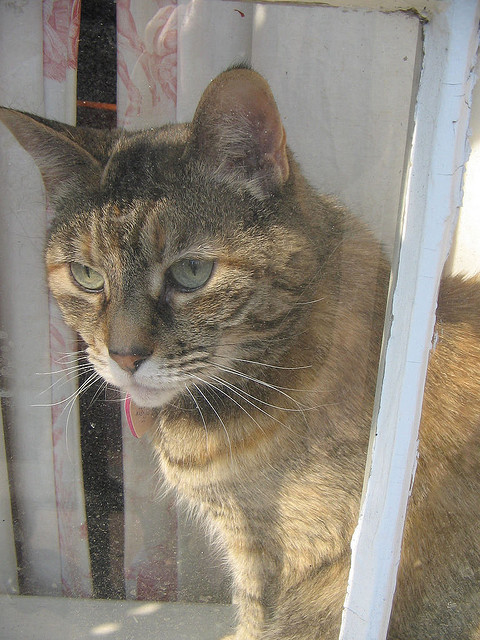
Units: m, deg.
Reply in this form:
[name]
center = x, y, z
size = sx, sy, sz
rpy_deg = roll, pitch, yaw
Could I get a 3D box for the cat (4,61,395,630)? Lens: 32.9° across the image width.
[cat]
center = -0.064, 0.079, 1.151
size = 0.536, 0.808, 0.284
rpy_deg = 3, -4, -21
